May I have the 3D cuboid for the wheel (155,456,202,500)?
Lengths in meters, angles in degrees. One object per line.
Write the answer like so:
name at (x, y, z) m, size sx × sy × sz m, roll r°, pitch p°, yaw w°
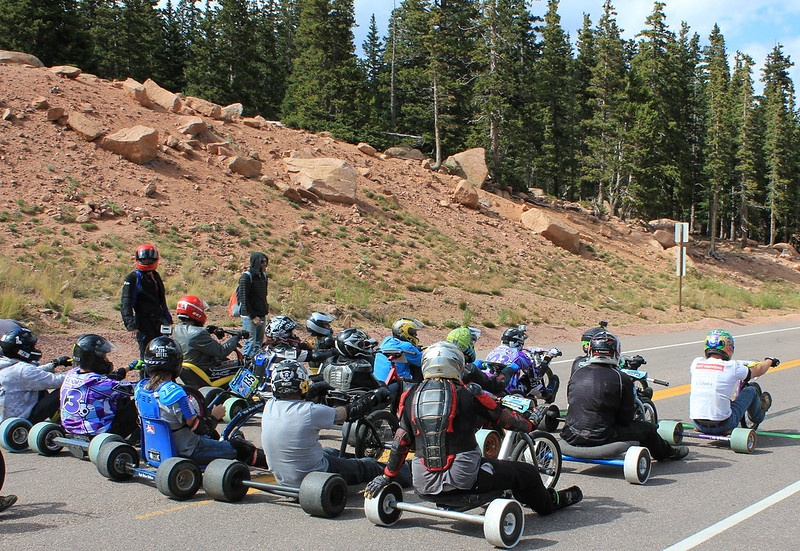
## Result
wheel at (-4.813, 4.381, 18.877) m, size 0.925 × 0.862 × 0.485 m, roll -7°, pitch 1°, yaw -40°

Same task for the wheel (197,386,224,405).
wheel at (-4.666, 2.934, 21.416) m, size 0.165 × 0.464 × 0.484 m, roll 12°, pitch -18°, yaw -29°

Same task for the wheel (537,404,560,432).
wheel at (3.518, 3.416, 20.967) m, size 0.257 × 0.627 × 0.674 m, roll 5°, pitch -4°, yaw 39°

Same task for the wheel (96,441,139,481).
wheel at (-6.277, 4.198, 19.578) m, size 0.491 × 0.795 × 0.893 m, roll -6°, pitch -5°, yaw 38°

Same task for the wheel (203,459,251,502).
wheel at (-3.793, 4.465, 19.165) m, size 0.805 × 0.806 × 0.959 m, roll -17°, pitch 7°, yaw -42°

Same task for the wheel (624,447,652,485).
wheel at (5.320, 4.263, 19.631) m, size 0.356 × 0.829 × 0.901 m, roll 0°, pitch 0°, yaw 39°

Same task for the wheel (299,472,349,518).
wheel at (-1.633, 4.664, 18.651) m, size 0.879 × 0.847 × 1.058 m, roll -3°, pitch 2°, yaw 17°

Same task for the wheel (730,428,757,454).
wheel at (8.216, 3.910, 20.884) m, size 0.568 × 0.698 × 0.736 m, roll -1°, pitch -39°, yaw 26°

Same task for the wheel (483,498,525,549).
wheel at (2.075, 5.035, 17.683) m, size 1.002 × 0.926 × 0.378 m, roll 6°, pitch -12°, yaw -42°

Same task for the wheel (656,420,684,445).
wheel at (6.312, 3.714, 20.561) m, size 0.358 × 0.353 × 0.563 m, roll 6°, pitch 1°, yaw -34°

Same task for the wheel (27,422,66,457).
wheel at (-8.213, 3.879, 20.681) m, size 0.790 × 0.725 × 0.391 m, roll 3°, pitch -6°, yaw -34°

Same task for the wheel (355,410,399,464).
wheel at (-0.553, 3.714, 20.158) m, size 1.116 × 1.073 × 1.125 m, roll -5°, pitch 1°, yaw 0°

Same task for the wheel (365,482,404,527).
wheel at (-0.336, 4.788, 18.368) m, size 0.372 × 0.857 × 0.934 m, roll -4°, pitch -3°, yaw 39°
